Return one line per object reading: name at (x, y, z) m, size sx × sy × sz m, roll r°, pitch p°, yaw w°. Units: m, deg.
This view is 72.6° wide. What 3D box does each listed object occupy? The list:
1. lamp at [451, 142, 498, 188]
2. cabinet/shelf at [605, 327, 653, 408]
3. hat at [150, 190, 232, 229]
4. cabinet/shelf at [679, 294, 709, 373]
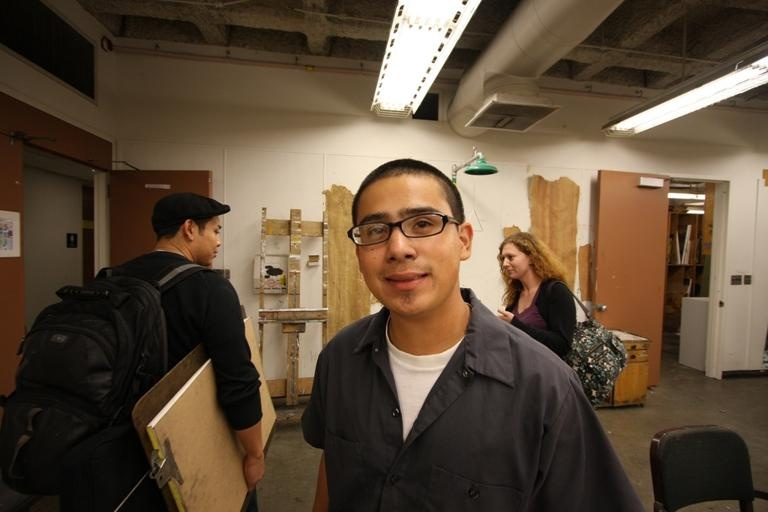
lamp at (0.994, -1.027, 5.968) m, size 0.299 × 0.351 × 0.717 m, roll 0°, pitch -12°, yaw -26°
cabinet/shelf at (2.837, 1.333, 6.394) m, size 0.550 × 0.783 × 0.578 m, roll -1°, pitch 6°, yaw -21°
hat at (-1.494, -0.354, 4.095) m, size 0.628 × 0.309 × 0.525 m, roll -7°, pitch 6°, yaw -30°
cabinet/shelf at (4.396, 1.089, 7.384) m, size 0.174 × 1.009 × 0.463 m, roll 0°, pitch 2°, yaw -10°
